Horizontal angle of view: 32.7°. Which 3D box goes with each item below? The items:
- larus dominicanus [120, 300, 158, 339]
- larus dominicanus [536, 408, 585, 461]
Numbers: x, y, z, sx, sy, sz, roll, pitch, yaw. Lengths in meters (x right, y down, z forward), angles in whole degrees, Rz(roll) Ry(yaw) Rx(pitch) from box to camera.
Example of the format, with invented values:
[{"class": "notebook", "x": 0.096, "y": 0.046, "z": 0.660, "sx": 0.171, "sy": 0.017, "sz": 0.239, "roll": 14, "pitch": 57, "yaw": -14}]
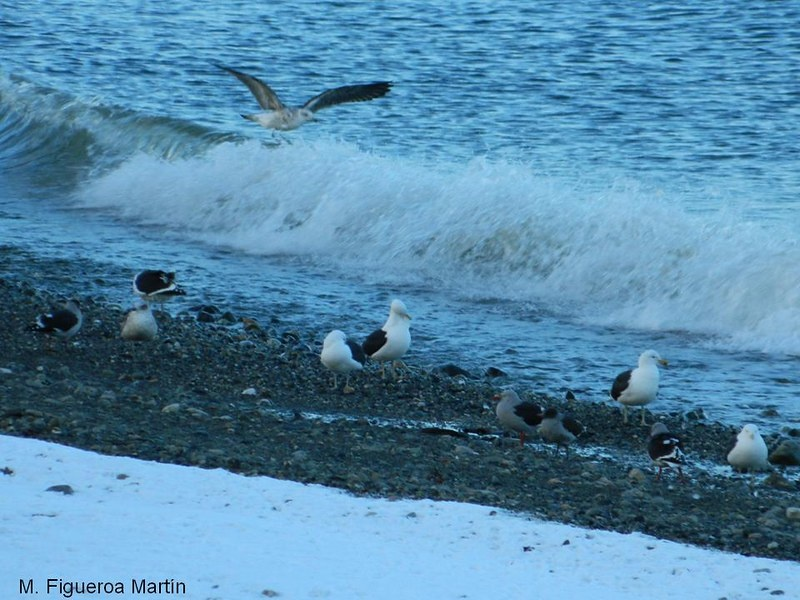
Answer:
[{"class": "larus dominicanus", "x": -4.964, "y": 0.472, "z": 25.744, "sx": 0.659, "sy": 0.840, "sz": 0.512, "roll": 4, "pitch": 34, "yaw": -10}, {"class": "larus dominicanus", "x": 2.793, "y": 2.302, "z": 23.820, "sx": 0.761, "sy": 0.811, "sz": 0.639, "roll": 13, "pitch": 32, "yaw": 5}]
